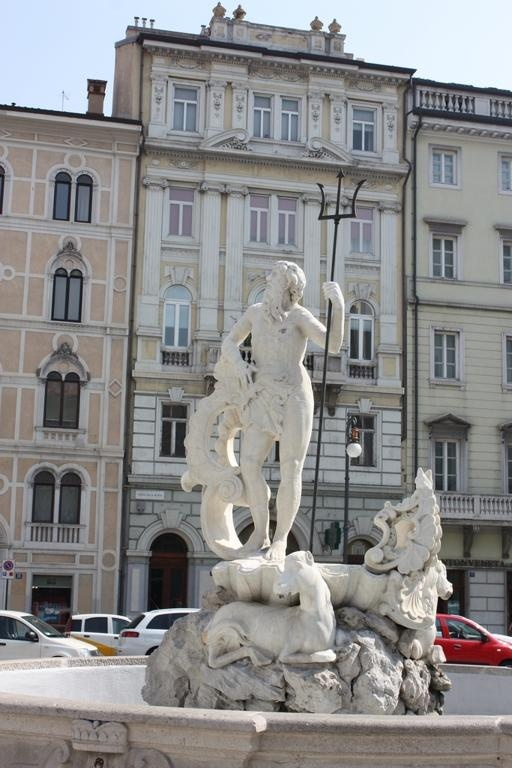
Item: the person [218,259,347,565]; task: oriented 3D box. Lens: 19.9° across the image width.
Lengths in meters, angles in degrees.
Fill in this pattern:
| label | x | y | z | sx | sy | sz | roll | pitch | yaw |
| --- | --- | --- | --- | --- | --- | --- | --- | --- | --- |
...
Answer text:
| label | x | y | z | sx | sy | sz | roll | pitch | yaw |
| --- | --- | --- | --- | --- | --- | --- | --- | --- | --- |
| person | 0.150 | 0.189 | 11.843 | 0.807 | 2.513 | 0.609 | 1 | -9 | 3 |
